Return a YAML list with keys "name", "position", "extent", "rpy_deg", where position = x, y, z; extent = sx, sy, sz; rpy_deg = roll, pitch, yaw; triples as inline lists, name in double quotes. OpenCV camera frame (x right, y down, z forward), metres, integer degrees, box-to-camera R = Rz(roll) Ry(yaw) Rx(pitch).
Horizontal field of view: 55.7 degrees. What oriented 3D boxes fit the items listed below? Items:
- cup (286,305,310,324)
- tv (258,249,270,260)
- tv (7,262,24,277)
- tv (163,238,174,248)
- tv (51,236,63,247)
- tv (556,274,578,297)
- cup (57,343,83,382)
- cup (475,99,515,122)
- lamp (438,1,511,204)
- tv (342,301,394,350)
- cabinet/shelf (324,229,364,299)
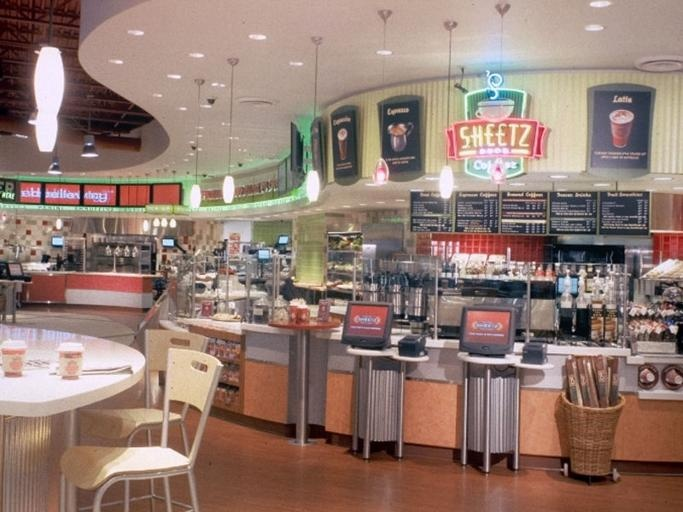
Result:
- name: "cup"
  position: [-0.472, 0.630, 6.973]
  extent: [0.215, 0.210, 0.160]
  rpy_deg: [0, 2, -16]
- name: "tv"
  position: [-0.935, -0.020, 7.792]
  extent: [0.143, 0.037, 0.155]
  rpy_deg: [0, 20, -1]
- name: "tv"
  position: [-8.279, 0.317, 16.388]
  extent: [0.343, 0.302, 0.684]
  rpy_deg: [-1, 7, -26]
- name: "tv"
  position: [-5.834, -0.470, 21.756]
  extent: [0.408, 0.339, 0.594]
  rpy_deg: [0, 6, -19]
- name: "tv"
  position: [-9.390, -0.499, 21.350]
  extent: [0.360, 0.356, 0.038]
  rpy_deg: [0, -5, -17]
- name: "tv"
  position: [2.307, 0.293, 6.580]
  extent: [0.219, 0.207, 0.080]
  rpy_deg: [1, -2, 6]
- name: "cup"
  position: [-1.674, 0.642, 3.982]
  extent: [0.146, 0.216, 0.107]
  rpy_deg: [1, 6, -12]
- name: "cup"
  position: [1.533, -1.484, 6.559]
  extent: [0.395, 0.201, 0.342]
  rpy_deg: [1, 1, 29]
- name: "lamp"
  position: [1.402, -1.573, 7.074]
  extent: [0.623, 1.842, 1.994]
  rpy_deg: [3, 6, 9]
- name: "tv"
  position: [0.274, 0.712, 6.622]
  extent: [0.433, 0.445, 0.253]
  rpy_deg: [1, -19, 20]
- name: "cabinet/shelf"
  position: [0.063, 0.061, 9.284]
  extent: [0.282, 0.970, 0.945]
  rpy_deg: [4, -10, -12]
